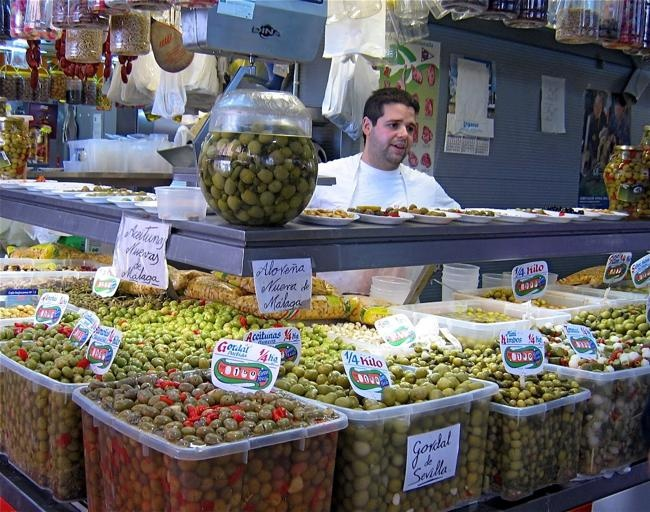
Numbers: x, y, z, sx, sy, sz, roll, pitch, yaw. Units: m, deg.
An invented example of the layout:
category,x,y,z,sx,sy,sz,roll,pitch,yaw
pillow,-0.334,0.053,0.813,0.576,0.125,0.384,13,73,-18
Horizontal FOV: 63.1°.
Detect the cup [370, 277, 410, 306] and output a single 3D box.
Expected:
category,x,y,z,sx,sy,sz,roll,pitch,yaw
cup,0.302,0.140,2.387,0.137,0.150,0.133,7,6,-1
